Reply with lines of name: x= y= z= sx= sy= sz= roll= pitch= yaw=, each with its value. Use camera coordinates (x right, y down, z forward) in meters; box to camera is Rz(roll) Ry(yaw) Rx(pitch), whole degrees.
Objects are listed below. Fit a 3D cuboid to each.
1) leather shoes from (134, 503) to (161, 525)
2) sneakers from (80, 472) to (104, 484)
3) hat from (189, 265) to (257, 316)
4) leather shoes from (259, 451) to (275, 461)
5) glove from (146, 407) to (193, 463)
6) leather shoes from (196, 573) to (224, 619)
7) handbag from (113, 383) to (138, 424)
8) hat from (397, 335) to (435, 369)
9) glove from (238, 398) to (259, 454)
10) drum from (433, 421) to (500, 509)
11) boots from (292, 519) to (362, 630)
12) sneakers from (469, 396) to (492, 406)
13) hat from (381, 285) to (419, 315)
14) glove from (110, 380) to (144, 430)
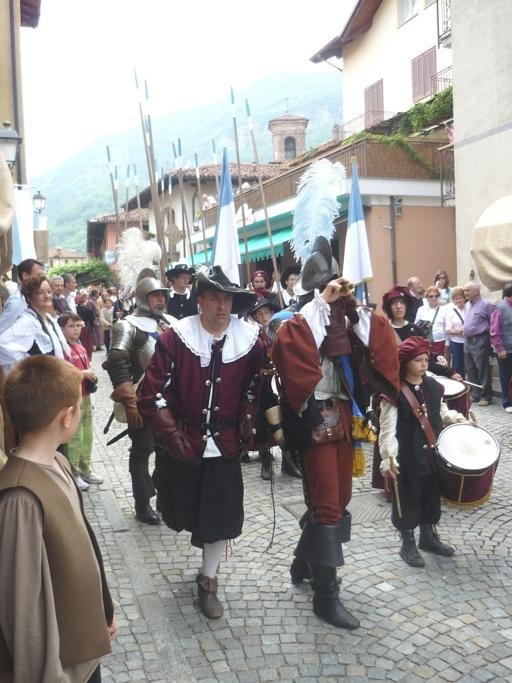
leather shoes: x=-0.799 y=1.265 z=4.912 sx=0.262 sy=0.166 sz=0.091 roll=3 pitch=5 yaw=30
sneakers: x=-1.473 y=1.224 z=6.038 sx=0.237 sy=0.090 sz=0.078 roll=5 pitch=2 yaw=-1
hat: x=-0.157 y=-0.284 z=3.672 sx=0.242 sy=0.126 sz=0.300 roll=18 pitch=-22 yaw=2
leather shoes: x=0.081 y=1.010 z=5.917 sx=0.134 sy=0.069 sz=0.211 roll=0 pitch=-1 yaw=33
glove: x=-0.437 y=0.478 z=3.444 sx=0.132 sy=0.284 sz=0.211 roll=-40 pitch=8 yaw=-13
leather shoes: x=-0.240 y=1.317 z=3.530 sx=0.132 sy=0.175 sz=0.275 roll=-2 pitch=4 yaw=-6
handbag: x=-0.918 y=0.429 z=4.723 sx=0.143 sy=0.254 sz=0.197 roll=-15 pitch=23 yaw=-16
hat: x=1.013 y=0.038 z=4.192 sx=0.210 sy=0.072 sz=0.200 roll=-32 pitch=19 yaw=-22
glove: x=-0.041 y=0.469 z=3.647 sx=0.078 sy=0.235 sz=0.178 roll=4 pitch=4 yaw=8
drum: x=1.313 y=0.797 z=4.195 sx=0.413 sy=0.361 sz=0.366 roll=-19 pitch=38 yaw=-22
boots: x=0.364 y=1.155 z=3.421 sx=0.199 sy=0.482 sz=0.413 roll=-3 pitch=5 yaw=-17
sneakers: x=3.143 y=0.851 z=9.376 sx=0.086 sy=0.089 sz=0.227 roll=3 pitch=-6 yaw=-31
hat: x=1.276 y=-0.368 z=6.136 sx=0.290 sy=0.261 sz=0.088 roll=-8 pitch=-24 yaw=-10
glove: x=-0.900 y=0.420 z=4.724 sx=0.215 sy=0.379 sz=0.294 roll=-10 pitch=19 yaw=-11
